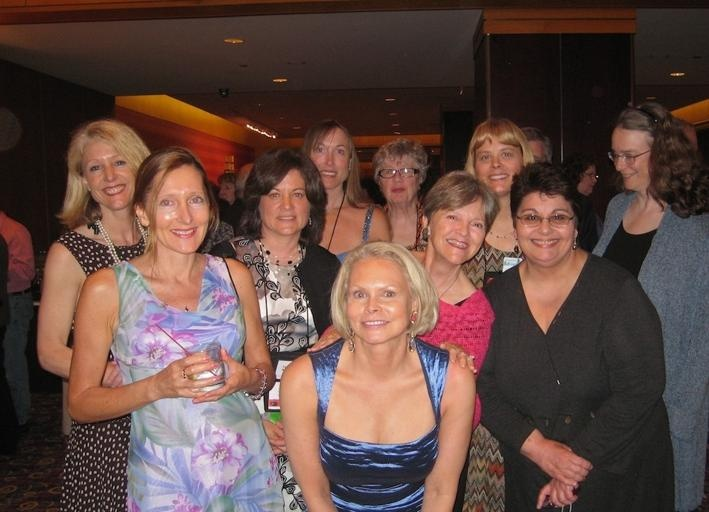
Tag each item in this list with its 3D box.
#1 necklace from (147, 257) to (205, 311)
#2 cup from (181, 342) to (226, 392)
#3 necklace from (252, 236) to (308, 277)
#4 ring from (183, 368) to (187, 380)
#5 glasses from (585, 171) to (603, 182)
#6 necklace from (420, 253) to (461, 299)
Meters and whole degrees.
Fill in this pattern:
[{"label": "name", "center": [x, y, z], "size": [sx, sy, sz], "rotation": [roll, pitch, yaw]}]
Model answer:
[{"label": "necklace", "center": [-0.872, 0.137, 2.989], "size": [0.228, 0.152, 0.284], "rotation": [-22, -25, -20]}, {"label": "cup", "center": [-0.696, 0.539, 2.878], "size": [0.185, 0.178, 0.203], "rotation": [-13, -26, -7]}, {"label": "necklace", "center": [-0.463, 0.016, 3.652], "size": [0.249, 0.223, 0.094], "rotation": [-6, -14, -25]}, {"label": "ring", "center": [-0.769, 0.532, 2.757], "size": [0.027, 0.035, 0.014], "rotation": [-1, 0, -1]}, {"label": "glasses", "center": [2.597, -0.854, 6.585], "size": [0.178, 0.175, 0.058], "rotation": [-3, -34, -9]}, {"label": "necklace", "center": [0.483, 0.117, 3.389], "size": [0.204, 0.229, 0.152], "rotation": [-11, 8, 11]}]
